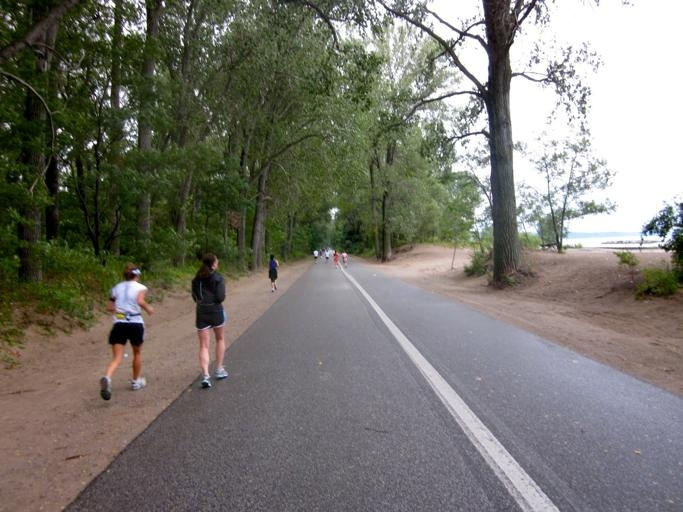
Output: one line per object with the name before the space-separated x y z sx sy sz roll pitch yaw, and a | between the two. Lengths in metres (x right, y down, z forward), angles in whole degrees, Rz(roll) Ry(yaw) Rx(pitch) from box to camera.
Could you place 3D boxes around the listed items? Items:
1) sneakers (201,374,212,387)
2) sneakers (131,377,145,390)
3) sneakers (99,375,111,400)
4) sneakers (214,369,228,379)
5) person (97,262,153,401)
sneakers | -2.421 2.266 9.562 0.100 0.171 0.333 3 -5 -9
sneakers | -3.632 2.319 9.614 0.115 0.170 0.319 4 19 17
sneakers | -4.026 2.269 9.067 0.137 0.502 0.200 -1 -1 -1
sneakers | -2.206 2.163 9.784 0.232 0.139 0.266 -6 15 -19
person | -3.958 1.276 9.695 0.921 2.182 1.533 -6 14 -24
